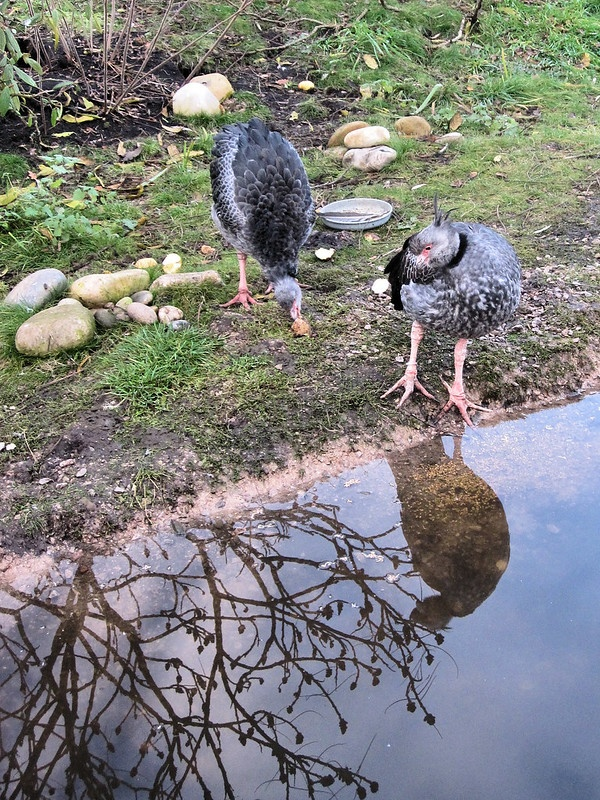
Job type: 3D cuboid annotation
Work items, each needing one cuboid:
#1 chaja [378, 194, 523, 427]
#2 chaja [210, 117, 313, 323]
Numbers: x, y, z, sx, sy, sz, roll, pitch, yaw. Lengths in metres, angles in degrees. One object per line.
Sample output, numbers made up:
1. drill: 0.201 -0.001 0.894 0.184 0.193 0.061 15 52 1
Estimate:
1. chaja: 0.821 -0.478 4.465 0.724 1.277 0.583 9 30 19
2. chaja: -0.198 -1.122 5.159 0.557 1.181 1.055 -12 29 -19
